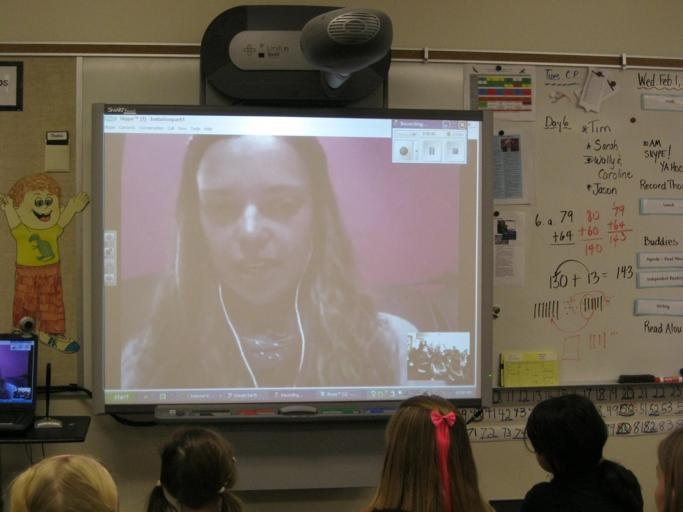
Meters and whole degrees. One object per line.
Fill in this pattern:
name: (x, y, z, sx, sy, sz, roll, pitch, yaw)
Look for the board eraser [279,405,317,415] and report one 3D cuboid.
board eraser: (-0.207, 0.737, 4.081, 0.190, 0.036, 0.028, -1, 1, -6)
